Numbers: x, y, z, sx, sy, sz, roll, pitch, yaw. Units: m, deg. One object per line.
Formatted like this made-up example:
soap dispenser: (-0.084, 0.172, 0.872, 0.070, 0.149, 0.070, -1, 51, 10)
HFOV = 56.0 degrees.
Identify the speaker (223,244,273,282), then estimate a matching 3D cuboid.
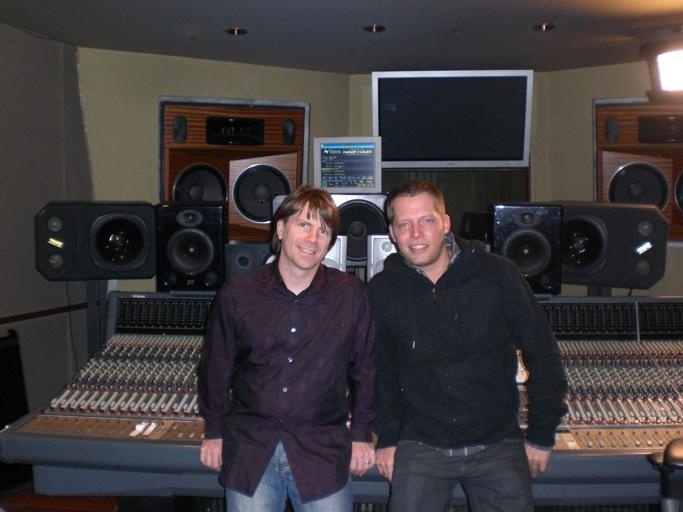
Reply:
speaker: (-0.571, 0.004, 3.858, 0.349, 0.336, 0.186, 2, 3, -12)

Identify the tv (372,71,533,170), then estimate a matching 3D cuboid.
tv: (0.973, -1.196, 5.534, 1.046, 0.715, 0.076, -1, 27, 3)

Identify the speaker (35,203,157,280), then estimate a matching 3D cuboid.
speaker: (-1.436, -0.072, 3.727, 0.772, 0.535, 0.425, 0, 2, -13)
